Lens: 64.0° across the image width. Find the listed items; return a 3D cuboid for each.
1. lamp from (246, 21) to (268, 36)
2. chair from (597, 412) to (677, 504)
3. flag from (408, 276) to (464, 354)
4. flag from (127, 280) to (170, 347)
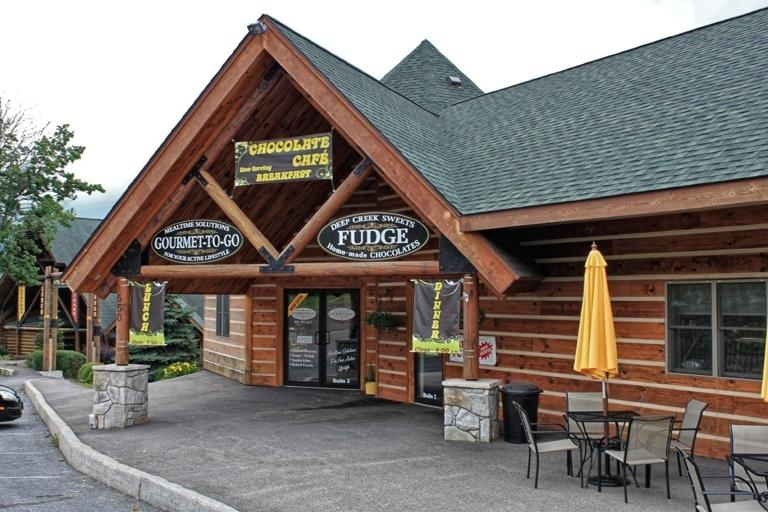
[{"bbox_3d":[-2.874,-5.338,14.116,0.415,0.254,0.244,-1,1,-3],"label":"lamp"},{"bbox_3d":[4.413,3.338,10.509,1.036,1.339,1.421,-1,1,22],"label":"chair"},{"bbox_3d":[1.166,1.263,13.121,1.033,1.564,0.271,-1,2,26],"label":"flag"},{"bbox_3d":[-5.766,1.377,14.973,1.023,1.542,0.372,-1,2,19],"label":"flag"}]
